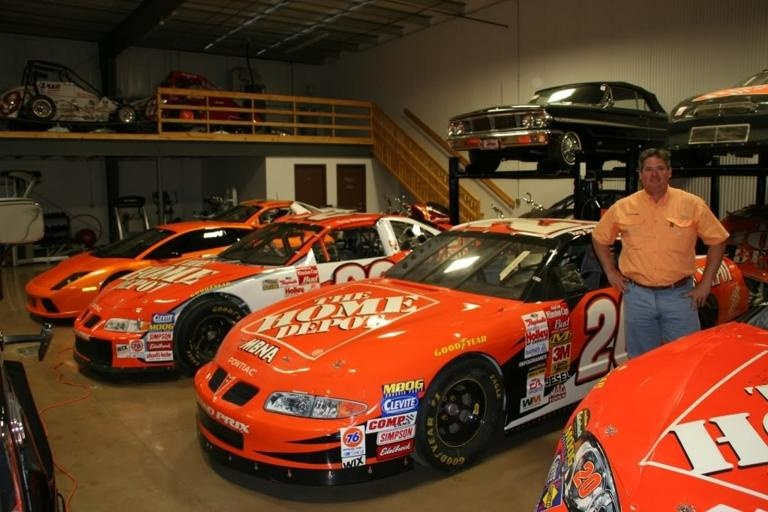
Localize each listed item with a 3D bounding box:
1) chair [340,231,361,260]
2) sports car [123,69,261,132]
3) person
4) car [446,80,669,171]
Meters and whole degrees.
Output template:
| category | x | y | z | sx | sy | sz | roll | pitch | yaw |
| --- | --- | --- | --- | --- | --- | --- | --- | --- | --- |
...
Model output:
| category | x | y | z | sx | sy | sz | roll | pitch | yaw |
| --- | --- | --- | --- | --- | --- | --- | --- | --- | --- |
| chair | -0.459 | -0.126 | 6.854 | 0.279 | 0.308 | 0.356 | 2 | 11 | 15 |
| sports car | -5.641 | -4.514 | 15.985 | 3.332 | 1.327 | 1.856 | 2 | 4 | -30 |
| person | 2.215 | 0.001 | 4.415 | 0.963 | 1.704 | 0.354 | 5 | 14 | 27 |
| car | 2.937 | -2.119 | 8.845 | 3.226 | 1.512 | 1.350 | -6 | 13 | -27 |
